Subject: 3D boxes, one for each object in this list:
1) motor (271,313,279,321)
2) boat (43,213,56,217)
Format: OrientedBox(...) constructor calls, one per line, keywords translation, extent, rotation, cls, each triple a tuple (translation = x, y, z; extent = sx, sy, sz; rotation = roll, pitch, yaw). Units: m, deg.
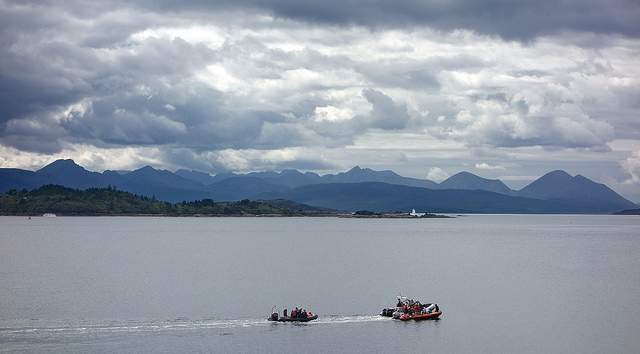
OrientedBox(translation=(-19.729, 60.823, 370.832), extent=(2.429, 2.834, 3.151), rotation=(0, -16, -2), cls="motor")
OrientedBox(translation=(-258.636, 35.741, 814.145), extent=(8.413, 3.628, 18.915), rotation=(1, -7, 5), cls="boat")
